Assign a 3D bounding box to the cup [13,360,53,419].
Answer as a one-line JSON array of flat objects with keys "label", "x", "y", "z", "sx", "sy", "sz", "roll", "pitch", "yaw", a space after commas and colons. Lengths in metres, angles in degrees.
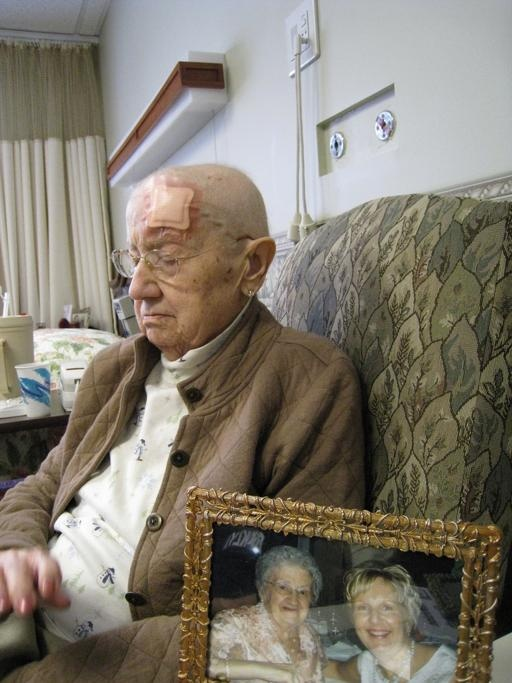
[{"label": "cup", "x": -0.508, "y": 0.104, "z": 1.346, "sx": 0.110, "sy": 0.154, "sz": 0.111, "roll": -3, "pitch": 4, "yaw": 0}]
